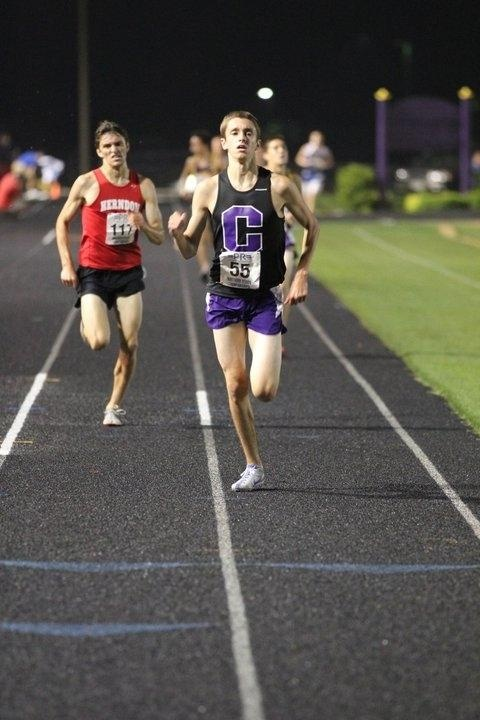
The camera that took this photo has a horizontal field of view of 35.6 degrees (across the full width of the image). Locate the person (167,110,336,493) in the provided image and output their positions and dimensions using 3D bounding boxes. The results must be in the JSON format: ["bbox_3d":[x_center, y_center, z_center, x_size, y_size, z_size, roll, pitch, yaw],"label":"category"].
[{"bbox_3d":[0.038,-0.184,3.709,0.822,1.980,0.464,-5,18,-14],"label":"person"}]

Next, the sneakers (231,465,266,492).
[{"bbox_3d":[0.050,0.649,4.116,0.095,0.102,0.254,-3,2,29],"label":"sneakers"}]

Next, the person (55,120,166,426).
[{"bbox_3d":[-0.858,-0.488,5.003,0.712,2.099,0.954,-3,17,-8],"label":"person"}]
